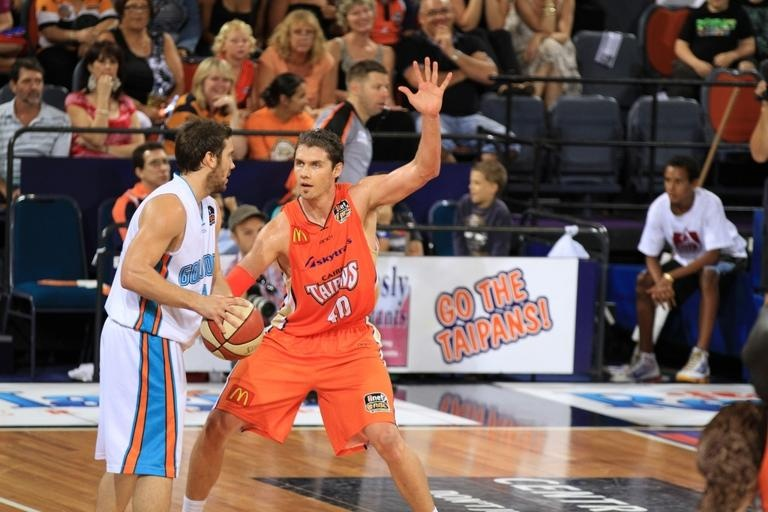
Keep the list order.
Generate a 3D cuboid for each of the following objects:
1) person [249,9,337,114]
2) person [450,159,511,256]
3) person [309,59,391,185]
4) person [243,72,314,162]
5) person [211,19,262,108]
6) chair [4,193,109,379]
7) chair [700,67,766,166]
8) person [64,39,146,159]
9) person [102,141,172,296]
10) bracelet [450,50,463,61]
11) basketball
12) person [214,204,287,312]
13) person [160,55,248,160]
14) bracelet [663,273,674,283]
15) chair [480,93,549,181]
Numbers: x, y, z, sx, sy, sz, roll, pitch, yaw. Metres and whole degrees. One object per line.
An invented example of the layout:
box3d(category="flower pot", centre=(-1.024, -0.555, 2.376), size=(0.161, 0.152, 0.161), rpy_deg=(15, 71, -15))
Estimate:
box3d(category="person", centre=(-1.011, -2.276, 12.200), size=(0.979, 1.317, 0.775), rpy_deg=(-6, 29, -21))
box3d(category="person", centre=(1.028, -0.473, 10.941), size=(0.577, 0.916, 0.838), rpy_deg=(2, 14, 4))
box3d(category="person", centre=(-0.275, -1.376, 10.174), size=(0.829, 1.490, 0.538), rpy_deg=(7, -4, -14))
box3d(category="person", centre=(-1.109, -1.445, 11.582), size=(0.584, 1.138, 0.823), rpy_deg=(-4, -11, 14))
box3d(category="person", centre=(-1.685, -2.147, 12.017), size=(0.715, 1.103, 0.368), rpy_deg=(-4, 14, -24))
box3d(category="chair", centre=(-3.298, 0.273, 10.719), size=(1.001, 1.894, 0.960), rpy_deg=(2, -1, -30))
box3d(category="chair", centre=(4.036, -1.766, 12.428), size=(0.669, 0.839, 0.553), rpy_deg=(9, 16, 26))
box3d(category="person", centre=(-3.012, -1.625, 11.430), size=(0.849, 1.429, 0.714), rpy_deg=(-4, 8, -43))
box3d(category="person", centre=(-2.527, -0.493, 10.646), size=(0.742, 1.970, 0.612), rpy_deg=(8, 0, -4))
box3d(category="bracelet", centre=(0.868, -2.403, 12.659), size=(0.106, 0.128, 0.184), rpy_deg=(7, 15, 20))
box3d(category="basketball", centre=(-1.026, 0.417, 7.186), size=(0.370, 0.401, 0.409), rpy_deg=(6, -40, 22))
box3d(category="person", centre=(-1.232, -0.080, 9.990), size=(0.542, 1.314, 0.607), rpy_deg=(1, -1, 3))
box3d(category="person", centre=(-1.889, -1.651, 11.448), size=(0.826, 1.072, 0.652), rpy_deg=(-4, 17, -24))
box3d(category="bracelet", centre=(2.860, 0.213, 10.634), size=(0.077, 0.062, 0.079), rpy_deg=(-2, 7, -15))
box3d(category="chair", centre=(1.671, -1.459, 13.152), size=(0.825, 1.232, 0.966), rpy_deg=(0, 0, 1))
